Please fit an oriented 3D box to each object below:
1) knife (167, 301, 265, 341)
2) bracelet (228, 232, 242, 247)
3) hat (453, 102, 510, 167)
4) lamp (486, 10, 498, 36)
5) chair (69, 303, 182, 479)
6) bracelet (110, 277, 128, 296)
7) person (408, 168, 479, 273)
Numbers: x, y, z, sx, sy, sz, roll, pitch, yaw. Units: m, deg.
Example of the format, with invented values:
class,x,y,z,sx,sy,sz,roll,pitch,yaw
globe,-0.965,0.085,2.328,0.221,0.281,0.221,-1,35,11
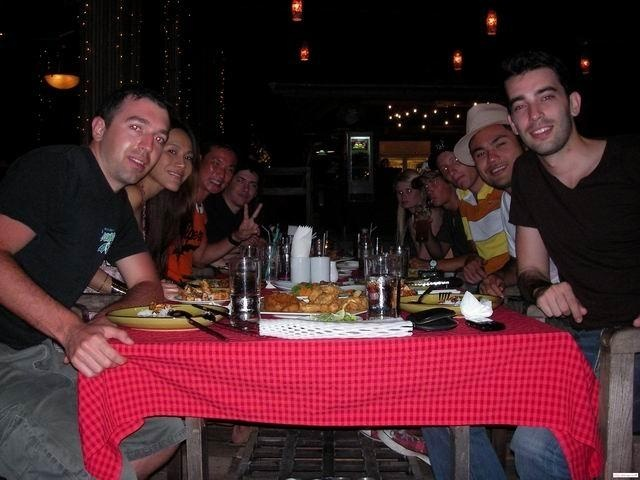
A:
class,x,y,z,sx,sy,sz,roll,pitch,yaw
knife,-0.342,0.225,1.738,0.116,0.048,0.393,-3,8,-42
bracelet,-0.604,0.001,3.710,0.078,0.057,0.077,8,14,-41
hat,1.054,-0.711,3.481,0.365,0.235,0.449,-10,-28,14
lamp,2.835,-3.532,8.612,0.150,0.404,0.439,-3,5,16
chair,-0.643,0.540,1.845,0.474,0.250,0.498,0,7,-4
bracelet,-0.945,0.220,2.459,0.076,0.035,0.058,27,6,33
person,1.045,-0.143,4.449,0.579,0.867,0.572,0,-12,41
